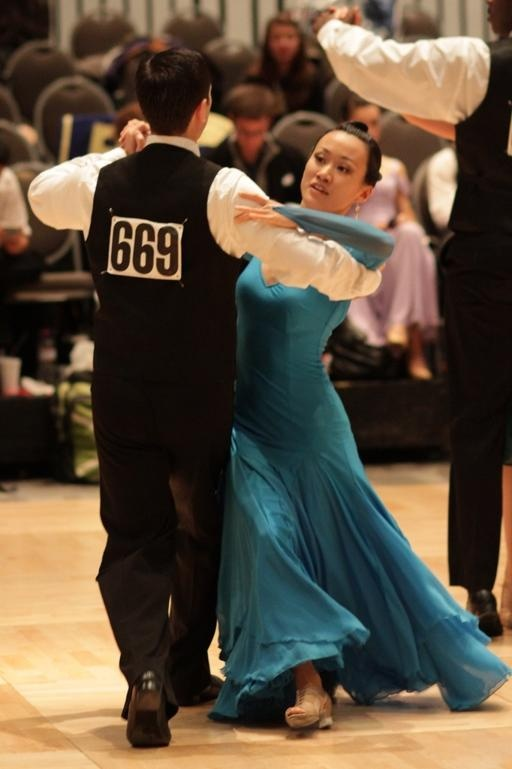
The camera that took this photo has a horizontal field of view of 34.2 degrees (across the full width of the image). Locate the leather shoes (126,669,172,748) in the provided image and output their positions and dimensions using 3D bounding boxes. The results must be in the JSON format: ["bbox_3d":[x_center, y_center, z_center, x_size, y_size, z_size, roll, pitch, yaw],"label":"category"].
[{"bbox_3d":[-0.169,0.540,1.390,0.062,0.156,0.069,-2,45,-3],"label":"leather shoes"}]

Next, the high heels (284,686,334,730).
[{"bbox_3d":[0.114,0.589,1.524,0.051,0.070,0.139,-18,-30,16],"label":"high heels"}]

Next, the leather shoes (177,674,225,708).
[{"bbox_3d":[-0.111,0.662,1.772,0.039,0.045,0.125,6,11,32],"label":"leather shoes"}]
